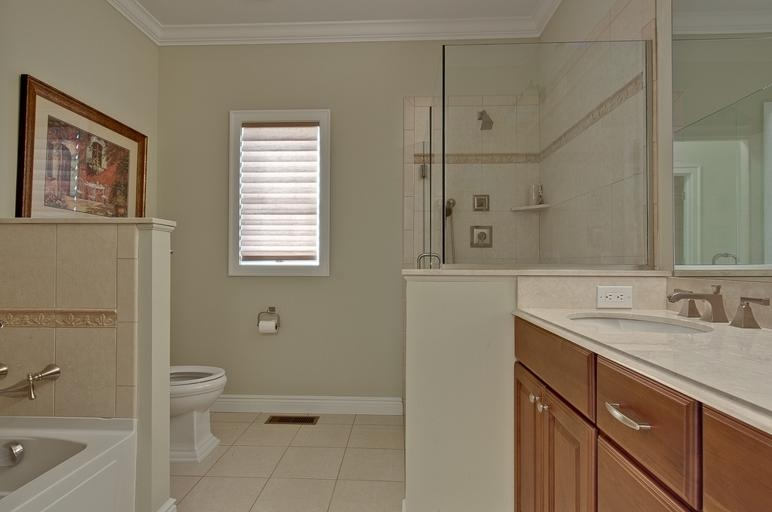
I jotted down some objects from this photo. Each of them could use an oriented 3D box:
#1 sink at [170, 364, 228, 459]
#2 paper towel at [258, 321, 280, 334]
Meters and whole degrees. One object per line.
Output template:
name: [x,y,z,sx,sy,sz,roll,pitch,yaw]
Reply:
sink: [-1.251,1.023,3.684,0.356,0.519,0.531,-3,14,-17]
paper towel: [-0.874,0.536,4.069,0.117,0.086,0.089,0,3,-2]
